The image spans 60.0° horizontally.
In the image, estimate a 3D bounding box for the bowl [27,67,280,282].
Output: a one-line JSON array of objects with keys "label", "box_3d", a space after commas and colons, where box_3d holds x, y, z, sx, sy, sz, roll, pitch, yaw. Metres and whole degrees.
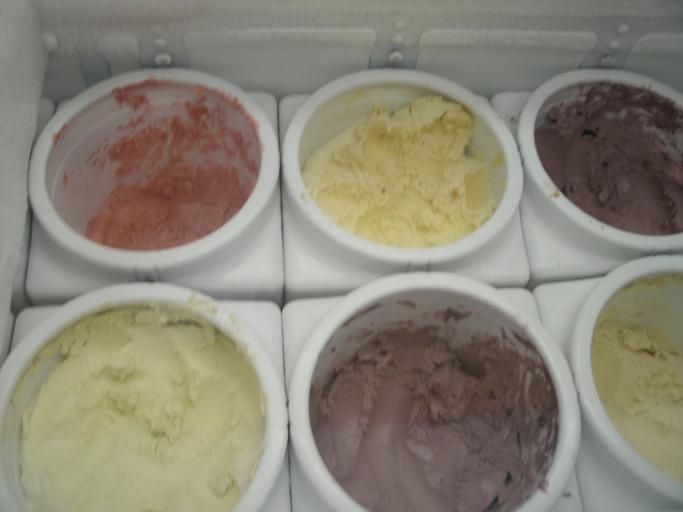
[{"label": "bowl", "box_3d": [-0.490, -0.229, 1.584, 0.646, 0.475, 0.362, -7, 23, -5]}]
